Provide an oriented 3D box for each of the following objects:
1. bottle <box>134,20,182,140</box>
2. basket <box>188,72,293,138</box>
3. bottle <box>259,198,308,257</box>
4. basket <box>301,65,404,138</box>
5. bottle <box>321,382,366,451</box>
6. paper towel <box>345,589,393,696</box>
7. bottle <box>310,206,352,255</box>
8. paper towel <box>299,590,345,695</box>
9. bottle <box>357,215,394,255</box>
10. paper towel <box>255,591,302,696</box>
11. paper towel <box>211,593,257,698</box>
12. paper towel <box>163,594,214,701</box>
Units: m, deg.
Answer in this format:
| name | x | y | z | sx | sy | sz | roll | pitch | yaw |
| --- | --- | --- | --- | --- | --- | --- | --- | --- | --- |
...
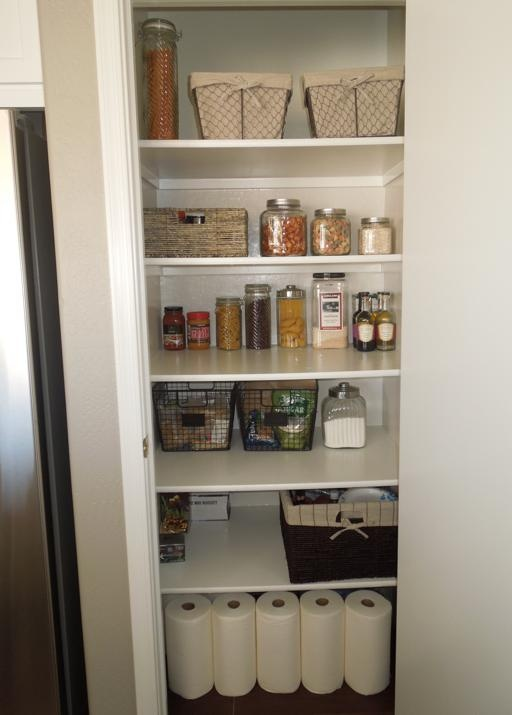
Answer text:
| name | x | y | z | sx | sy | sz | roll | pitch | yaw |
| --- | --- | --- | --- | --- | --- | --- | --- | --- | --- |
| bottle | -0.243 | -0.698 | 1.577 | 0.096 | 0.282 | 0.053 | -3 | 7 | -7 |
| basket | -0.038 | -0.633 | 1.640 | 0.208 | 0.122 | 0.170 | -1 | 5 | -6 |
| bottle | 0.076 | -0.362 | 1.760 | 0.146 | 0.188 | 0.167 | 0 | 4 | 1 |
| basket | 0.258 | -0.659 | 1.611 | 0.209 | 0.144 | 0.180 | -1 | 28 | 2 |
| bottle | 0.270 | 0.192 | 1.930 | 0.154 | 0.252 | 0.139 | -1 | 16 | 1 |
| paper towel | 0.342 | 0.877 | 1.915 | 0.141 | 0.267 | 0.152 | 0 | 8 | 16 |
| bottle | 0.211 | -0.355 | 1.787 | 0.122 | 0.146 | 0.124 | 1 | 5 | 0 |
| paper towel | 0.201 | 0.876 | 1.910 | 0.137 | 0.275 | 0.140 | -3 | 7 | -3 |
| bottle | 0.339 | -0.343 | 1.801 | 0.107 | 0.115 | 0.114 | 0 | 6 | -5 |
| paper towel | 0.066 | 0.879 | 1.912 | 0.137 | 0.267 | 0.157 | -2 | 7 | -1 |
| paper towel | -0.067 | 0.885 | 1.918 | 0.137 | 0.267 | 0.158 | -3 | 7 | -4 |
| paper towel | -0.210 | 0.890 | 1.910 | 0.145 | 0.277 | 0.157 | -6 | 8 | -26 |
